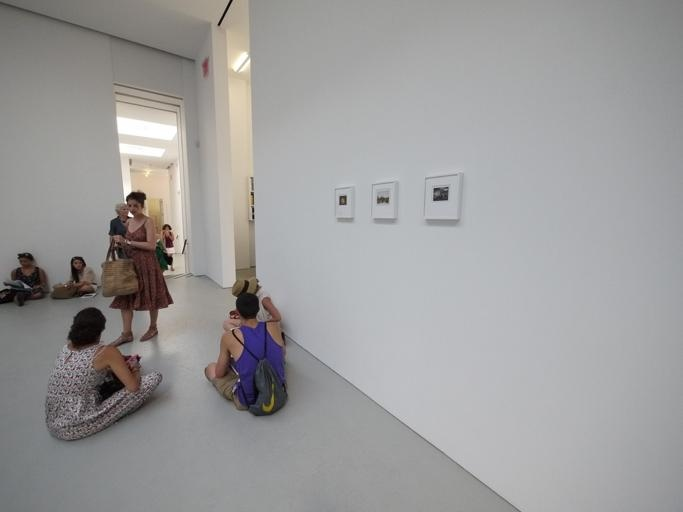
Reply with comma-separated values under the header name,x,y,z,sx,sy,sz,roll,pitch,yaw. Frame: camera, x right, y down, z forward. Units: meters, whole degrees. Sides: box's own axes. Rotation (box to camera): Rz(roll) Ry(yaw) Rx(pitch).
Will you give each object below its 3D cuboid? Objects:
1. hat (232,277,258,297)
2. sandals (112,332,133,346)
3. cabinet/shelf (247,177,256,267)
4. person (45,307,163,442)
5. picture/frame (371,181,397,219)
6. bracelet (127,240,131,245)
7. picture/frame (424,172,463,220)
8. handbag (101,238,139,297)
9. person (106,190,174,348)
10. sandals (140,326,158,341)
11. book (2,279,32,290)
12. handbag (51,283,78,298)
name,x,y,z,sx,sy,sz,roll,pitch,yaw
hat,-0.899,0.295,4.105,0.071,0.177,0.187,23,-28,-37
sandals,-2.231,0.858,4.574,0.075,0.111,0.238,-5,0,42
cabinet/shelf,-1.730,-0.624,8.464,0.098,1.729,0.419,-2,7,-14
person,-1.896,0.866,3.466,0.827,0.950,0.689,7,9,7
picture/frame,0.333,-0.428,3.391,0.040,0.344,0.273,0,3,-31
bracelet,-2.078,-0.138,4.351,0.036,0.055,0.036,-2,4,-42
picture/frame,0.705,-0.410,3.026,0.044,0.336,0.283,-2,7,-41
handbag,-2.204,0.128,4.398,0.326,0.568,0.412,-4,7,-29
person,-2.062,0.116,4.570,0.568,1.552,0.532,-2,11,-29
sandals,-2.067,0.836,4.764,0.090,0.120,0.285,-1,-10,2
book,-4.316,0.381,5.910,0.168,0.086,0.221,11,7,41
handbag,-3.922,0.491,6.248,0.288,0.204,0.168,-1,7,-2
